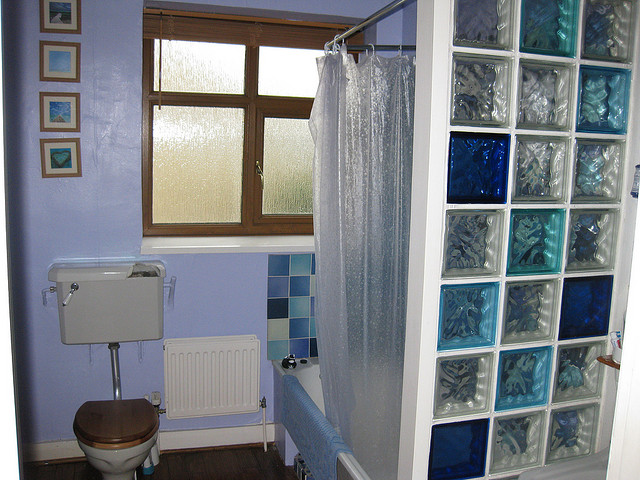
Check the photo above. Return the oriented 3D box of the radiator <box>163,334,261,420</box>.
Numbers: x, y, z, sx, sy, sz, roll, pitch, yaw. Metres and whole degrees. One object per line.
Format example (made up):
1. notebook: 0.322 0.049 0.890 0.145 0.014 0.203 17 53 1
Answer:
1. radiator: -0.664 0.802 3.252 0.490 0.449 0.055 -1 9 -13

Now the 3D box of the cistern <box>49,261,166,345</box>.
1. cistern: -1.170 0.316 3.070 0.616 0.458 0.358 -1 16 -24

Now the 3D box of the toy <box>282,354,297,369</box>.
1. toy: -0.179 0.719 3.253 0.058 0.082 0.081 -12 30 -27

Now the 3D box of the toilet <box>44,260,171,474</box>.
1. toilet: -1.081 0.734 2.939 0.657 1.198 0.698 -6 13 -18
